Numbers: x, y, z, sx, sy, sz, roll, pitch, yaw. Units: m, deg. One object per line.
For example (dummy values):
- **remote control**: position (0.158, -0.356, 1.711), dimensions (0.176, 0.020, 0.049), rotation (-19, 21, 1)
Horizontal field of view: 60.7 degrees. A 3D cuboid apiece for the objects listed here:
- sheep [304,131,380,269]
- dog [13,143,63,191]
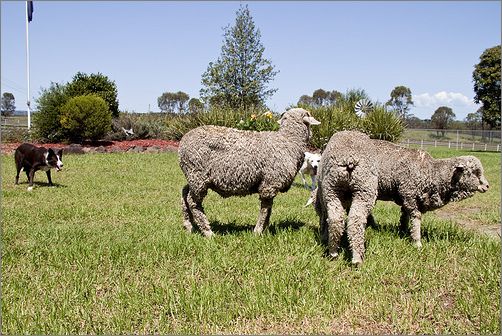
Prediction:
- **sheep**: position (1.593, 0.465, 7.262), dimensions (0.865, 2.159, 1.201), rotation (-1, 9, -10)
- **dog**: position (-6.549, -0.079, 13.163), dimensions (2.007, 1.252, 0.831), rotation (10, 6, 24)
